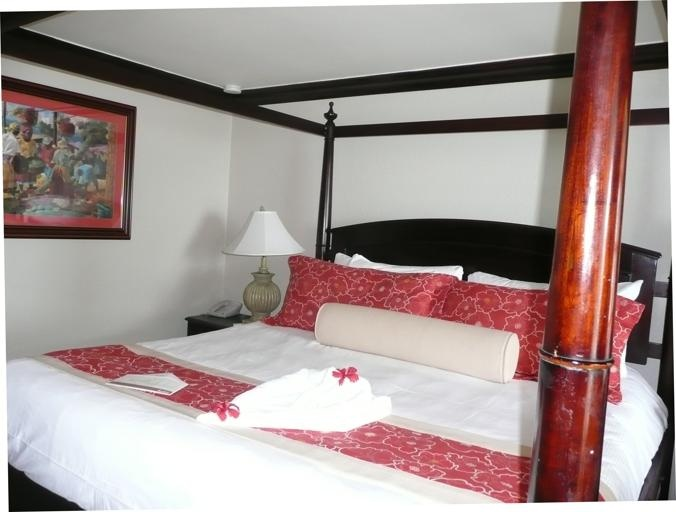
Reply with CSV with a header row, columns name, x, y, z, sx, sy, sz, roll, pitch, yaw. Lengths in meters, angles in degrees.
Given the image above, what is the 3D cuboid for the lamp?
name,x,y,z,sx,sy,sz,roll,pitch,yaw
lamp,-0.662,0.031,3.813,0.870,0.936,0.813,5,7,18

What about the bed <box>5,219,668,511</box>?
name,x,y,z,sx,sy,sz,roll,pitch,yaw
bed,-0.014,0.439,2.082,1.627,0.809,1.612,1,-2,40

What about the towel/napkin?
name,x,y,z,sx,sy,sz,roll,pitch,yaw
towel/napkin,-0.136,0.561,1.737,0.344,0.069,0.373,1,0,38

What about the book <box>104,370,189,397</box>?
name,x,y,z,sx,sy,sz,roll,pitch,yaw
book,-0.821,0.552,2.032,0.327,0.022,0.213,5,6,17

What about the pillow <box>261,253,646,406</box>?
name,x,y,z,sx,sy,sz,roll,pitch,yaw
pillow,0.394,0.320,2.817,1.639,0.455,0.362,7,7,28
